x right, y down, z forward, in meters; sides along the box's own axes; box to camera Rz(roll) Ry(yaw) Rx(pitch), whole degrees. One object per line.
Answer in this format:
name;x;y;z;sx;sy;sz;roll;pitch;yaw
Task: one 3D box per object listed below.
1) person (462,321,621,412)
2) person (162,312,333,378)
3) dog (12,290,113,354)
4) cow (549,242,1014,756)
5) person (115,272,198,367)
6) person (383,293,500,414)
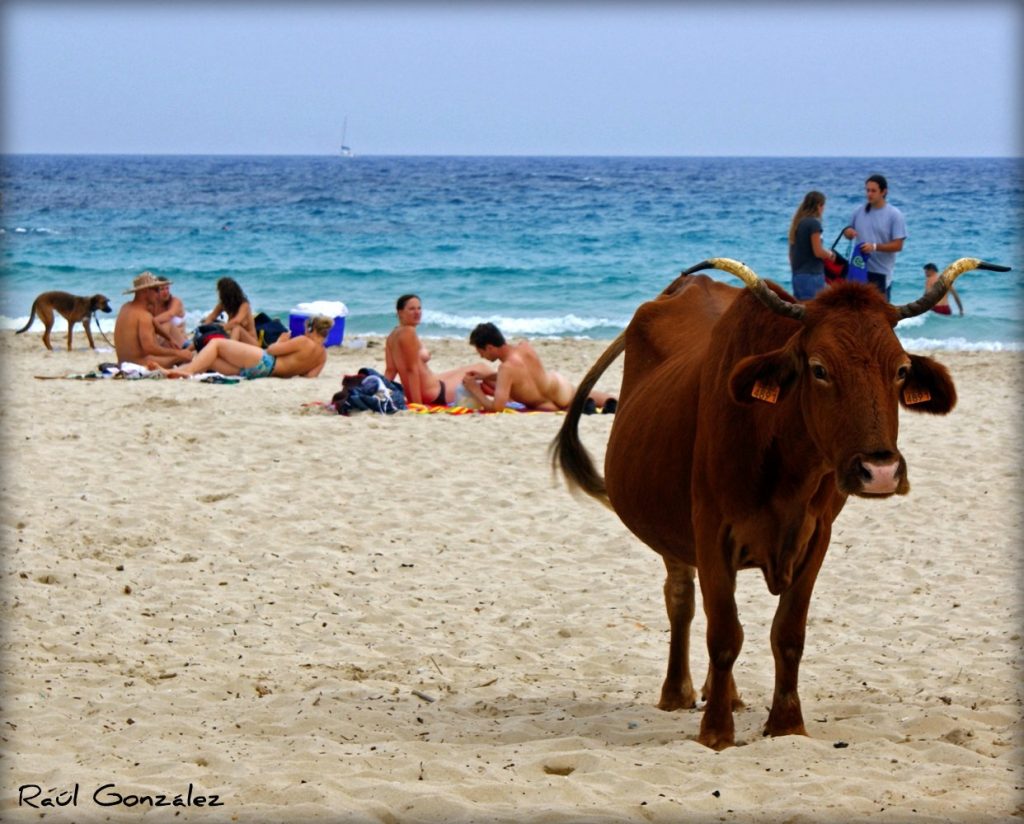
person;0.083;-0.386;17.015;1.918;0.794;0.727;16;27;9
person;-3.216;-0.735;18.956;2.093;0.877;0.624;4;2;-18
dog;-6.093;-1.281;22.209;1.468;0.699;0.350;3;5;23
cow;1.455;0.538;9.948;1.017;2.945;2.543;-3;5;-30
person;-4.234;-1.079;18.974;0.862;1.097;1.218;1;5;15
person;-0.637;-0.607;17.585;1.903;1.180;0.665;-2;1;-24
